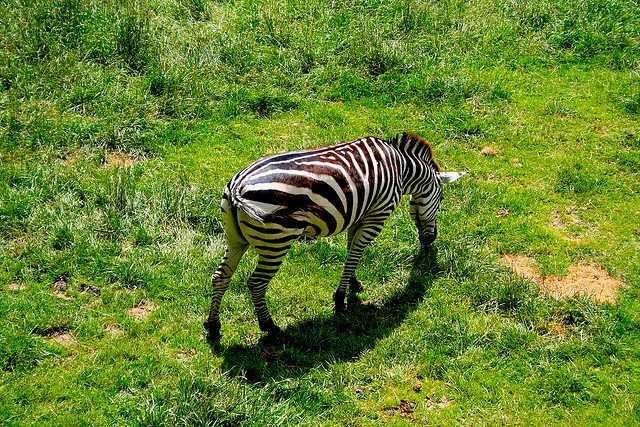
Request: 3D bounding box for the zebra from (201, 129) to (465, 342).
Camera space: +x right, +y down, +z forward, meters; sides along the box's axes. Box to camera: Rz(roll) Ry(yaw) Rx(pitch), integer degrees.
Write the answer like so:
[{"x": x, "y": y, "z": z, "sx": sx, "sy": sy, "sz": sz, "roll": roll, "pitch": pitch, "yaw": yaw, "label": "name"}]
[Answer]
[{"x": -0.010, "y": 0.435, "z": 10.691, "sx": 3.329, "sy": 2.957, "sz": 0.954, "roll": -2, "pitch": 28, "yaw": -28, "label": "zebra"}]
